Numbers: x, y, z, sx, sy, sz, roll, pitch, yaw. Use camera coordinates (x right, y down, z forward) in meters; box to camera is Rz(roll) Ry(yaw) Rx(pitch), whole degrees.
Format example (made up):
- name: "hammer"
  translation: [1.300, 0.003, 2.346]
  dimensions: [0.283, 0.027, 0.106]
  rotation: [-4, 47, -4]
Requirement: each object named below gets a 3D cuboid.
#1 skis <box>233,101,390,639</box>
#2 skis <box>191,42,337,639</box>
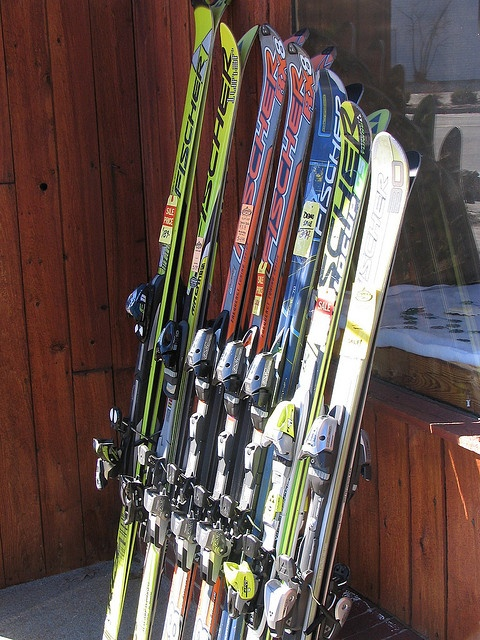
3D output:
- name: "skis"
  translation: [0.170, 0.130, 1.576]
  dimensions: [0.096, 1.444, 0.119]
  rotation: [13, -14, -27]
- name: "skis"
  translation: [0.151, -0.492, 1.904]
  dimensions: [0.225, 2.420, 0.262]
  rotation: [17, -27, -19]
